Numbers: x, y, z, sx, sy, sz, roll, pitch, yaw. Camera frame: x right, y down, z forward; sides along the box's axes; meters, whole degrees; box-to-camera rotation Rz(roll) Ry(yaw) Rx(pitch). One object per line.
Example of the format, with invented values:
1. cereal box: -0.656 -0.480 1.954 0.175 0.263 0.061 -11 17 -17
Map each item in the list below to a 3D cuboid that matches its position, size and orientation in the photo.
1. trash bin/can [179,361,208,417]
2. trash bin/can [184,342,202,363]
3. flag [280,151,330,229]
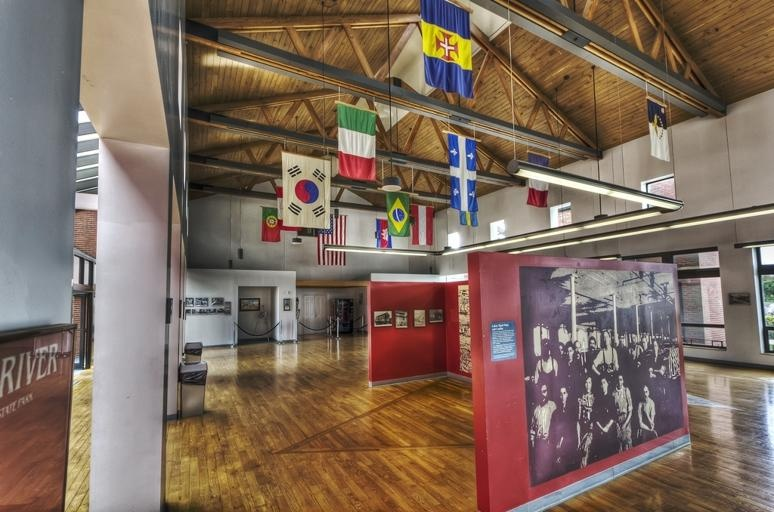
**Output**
1. trash bin/can: -3.771 2.658 9.850 0.520 0.882 0.553 2 -1 -5
2. trash bin/can: -4.502 2.256 11.597 0.361 0.492 0.489 -3 -5 18
3. flag: -1.603 -1.300 9.933 0.949 1.468 0.602 -2 8 -11
